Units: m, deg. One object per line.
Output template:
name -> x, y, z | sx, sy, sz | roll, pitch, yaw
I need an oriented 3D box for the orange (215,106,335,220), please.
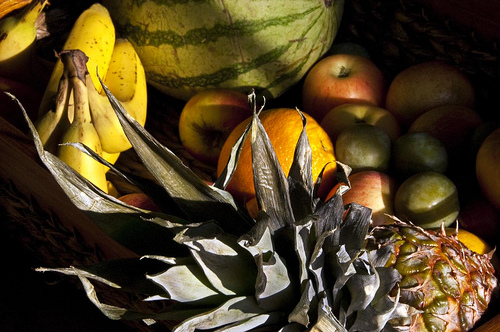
orange -> 0.053, -0.001, 1.110 | 0.148, 0.150, 0.166 | 34, 9, -30

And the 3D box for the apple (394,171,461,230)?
apple -> 0.369, 0.072, 1.177 | 0.124, 0.127, 0.120 | -7, 14, 3

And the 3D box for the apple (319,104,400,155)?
apple -> 0.262, -0.067, 1.369 | 0.130, 0.124, 0.128 | 1, -10, 1

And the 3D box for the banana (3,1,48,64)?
banana -> -0.565, -0.333, 1.421 | 0.057, 0.172, 0.059 | 27, -6, 9

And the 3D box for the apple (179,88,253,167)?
apple -> -0.069, -0.114, 1.450 | 0.175, 0.183, 0.143 | 23, 35, 40

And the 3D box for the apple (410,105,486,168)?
apple -> 0.457, -0.063, 1.312 | 0.189, 0.150, 0.148 | -12, 1, 21

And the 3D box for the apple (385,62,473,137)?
apple -> 0.419, -0.180, 1.315 | 0.208, 0.165, 0.151 | 5, 27, 12

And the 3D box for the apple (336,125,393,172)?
apple -> 0.256, -0.038, 1.255 | 0.124, 0.094, 0.060 | 5, 29, 8

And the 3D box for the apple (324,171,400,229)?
apple -> 0.264, 0.079, 1.268 | 0.134, 0.160, 0.141 | 0, 2, 37

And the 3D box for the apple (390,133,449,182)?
apple -> 0.371, -0.021, 1.278 | 0.105, 0.103, 0.124 | -20, 0, 12
